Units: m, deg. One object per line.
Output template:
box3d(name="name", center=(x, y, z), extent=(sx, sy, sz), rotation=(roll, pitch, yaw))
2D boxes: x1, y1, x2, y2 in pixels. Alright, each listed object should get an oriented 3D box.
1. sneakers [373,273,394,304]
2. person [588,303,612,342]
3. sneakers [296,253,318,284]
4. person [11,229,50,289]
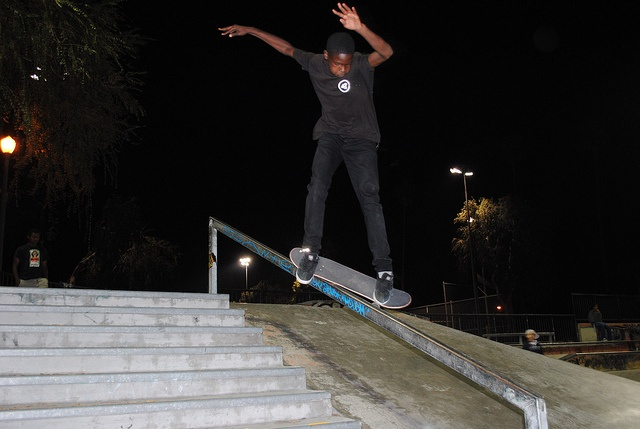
box3d(name="sneakers", center=(0.890, 1.032, 6.638), extent=(0.259, 0.436, 0.302), rotation=(-1, -14, 5))
box3d(name="person", center=(10.234, 3.944, 17.287), extent=(0.637, 1.215, 0.640), rotation=(12, -18, -40))
box3d(name="sneakers", center=(-0.190, 0.758, 6.718), extent=(0.188, 0.590, 0.229), rotation=(10, -19, -10))
box3d(name="person", center=(-5.745, 0.858, 9.387), extent=(0.596, 1.172, 0.640), rotation=(10, -16, -33))
